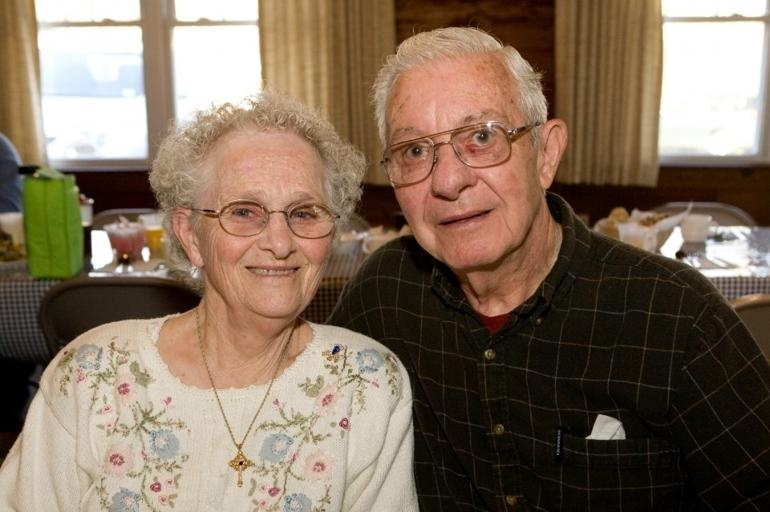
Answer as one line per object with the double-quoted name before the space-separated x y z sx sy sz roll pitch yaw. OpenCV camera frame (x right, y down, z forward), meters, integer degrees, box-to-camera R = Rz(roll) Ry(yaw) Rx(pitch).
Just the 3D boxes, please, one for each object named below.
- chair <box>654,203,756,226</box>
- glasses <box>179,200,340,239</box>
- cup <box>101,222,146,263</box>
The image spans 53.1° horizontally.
"chair" 2.295 -0.241 5.460 0.599 0.242 0.404 -1 3 27
"glasses" -0.425 -0.120 2.616 0.482 0.149 0.088 -3 16 1
"cup" -1.447 -0.079 4.251 0.225 0.182 0.214 -3 3 0
